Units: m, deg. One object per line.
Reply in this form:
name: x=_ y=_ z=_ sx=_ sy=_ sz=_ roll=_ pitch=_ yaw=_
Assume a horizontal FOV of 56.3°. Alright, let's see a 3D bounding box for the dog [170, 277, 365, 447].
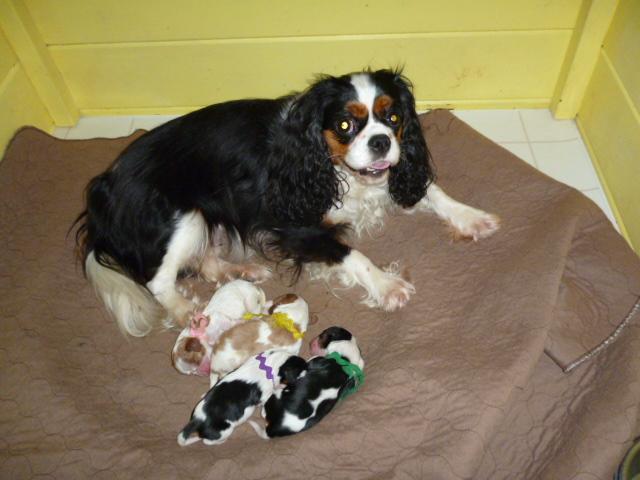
dog: x=-0.365 y=0.657 z=3.283 sx=0.622 sy=0.348 sz=1.045 roll=25 pitch=70 yaw=5
